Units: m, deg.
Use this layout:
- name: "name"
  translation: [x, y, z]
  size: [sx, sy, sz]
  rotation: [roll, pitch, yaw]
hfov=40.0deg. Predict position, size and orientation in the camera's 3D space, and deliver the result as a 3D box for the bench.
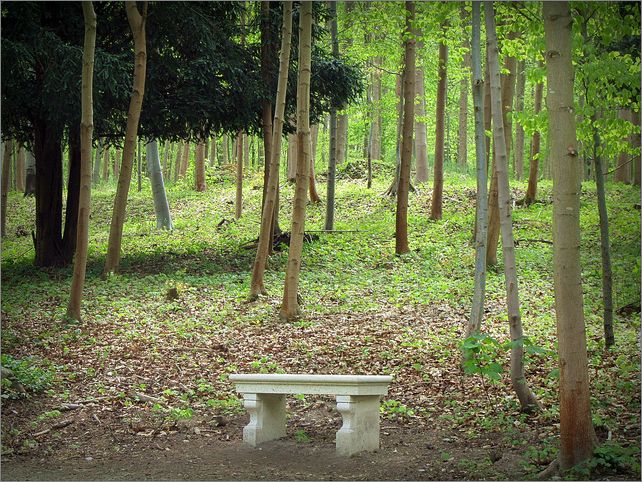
- name: "bench"
  translation: [-0.139, 3.130, 16.330]
  size: [2.702, 1.433, 0.702]
  rotation: [1, 9, 12]
